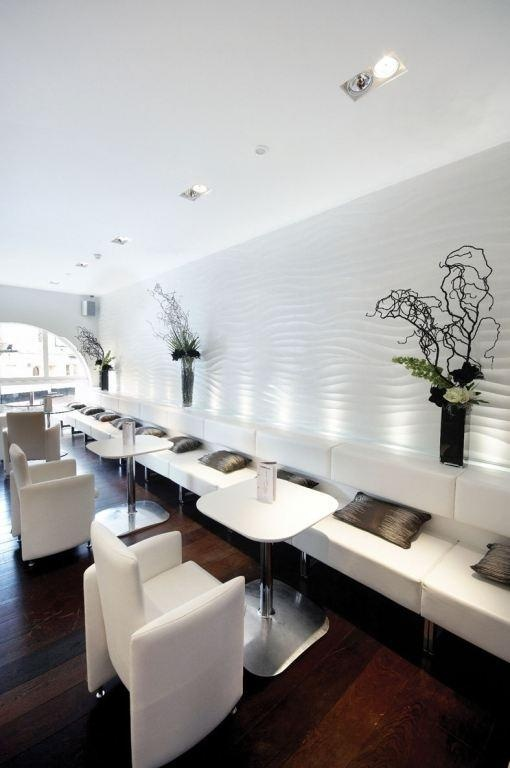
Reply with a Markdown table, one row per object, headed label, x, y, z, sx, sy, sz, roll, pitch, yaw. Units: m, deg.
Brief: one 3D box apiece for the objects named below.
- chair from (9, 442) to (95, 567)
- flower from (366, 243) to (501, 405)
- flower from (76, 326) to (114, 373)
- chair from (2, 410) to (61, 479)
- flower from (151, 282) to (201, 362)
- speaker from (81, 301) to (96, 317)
| label | x | y | z | sx | sy | sz | roll | pitch | yaw |
| --- | --- | --- | --- | --- | --- | --- | --- | --- | --- |
| chair | -1.216 | 0.686 | 3.124 | 0.489 | 0.603 | 0.441 | -3 | 9 | -31 |
| flower | 0.907 | -0.297 | 2.737 | 0.337 | 0.794 | 0.659 | -8 | 9 | -30 |
| flower | -2.148 | -0.463 | 6.914 | 0.318 | 0.562 | 0.812 | -9 | 9 | -30 |
| chair | -1.919 | 0.513 | 4.424 | 0.457 | 0.648 | 0.517 | 0 | 1 | -20 |
| flower | -0.793 | -0.626 | 5.108 | 0.354 | 0.743 | 1.202 | -6 | 8 | -12 |
| speaker | -2.274 | -0.999 | 7.023 | 0.070 | 0.216 | 0.220 | 0 | 0 | 23 |
